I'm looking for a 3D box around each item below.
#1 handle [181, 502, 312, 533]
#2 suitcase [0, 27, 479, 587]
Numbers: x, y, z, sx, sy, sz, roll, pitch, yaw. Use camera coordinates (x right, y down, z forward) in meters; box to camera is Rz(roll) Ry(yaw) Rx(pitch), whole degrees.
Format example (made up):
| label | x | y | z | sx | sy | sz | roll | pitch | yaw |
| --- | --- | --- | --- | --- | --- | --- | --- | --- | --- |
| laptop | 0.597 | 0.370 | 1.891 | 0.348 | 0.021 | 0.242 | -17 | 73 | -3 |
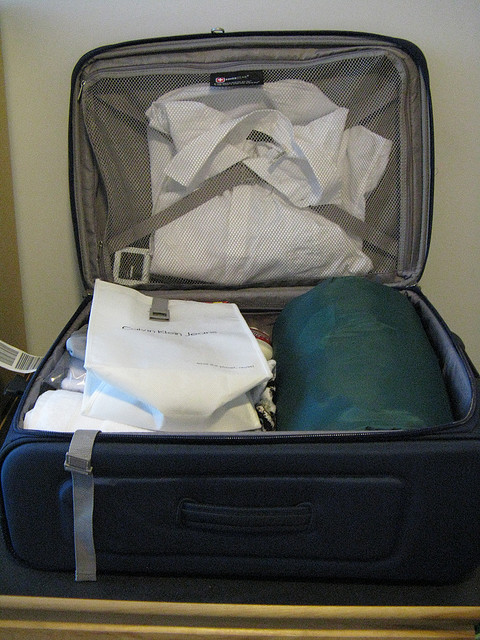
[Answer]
| label | x | y | z | sx | sy | sz | roll | pitch | yaw |
| --- | --- | --- | --- | --- | --- | --- | --- | --- | --- |
| handle | 0.008 | 0.269 | 0.781 | 0.178 | 0.043 | 0.012 | 4 | 16 | -3 |
| suitcase | 0.003 | -0.070 | 1.060 | 0.830 | 0.745 | 0.803 | 0 | 38 | 2 |
